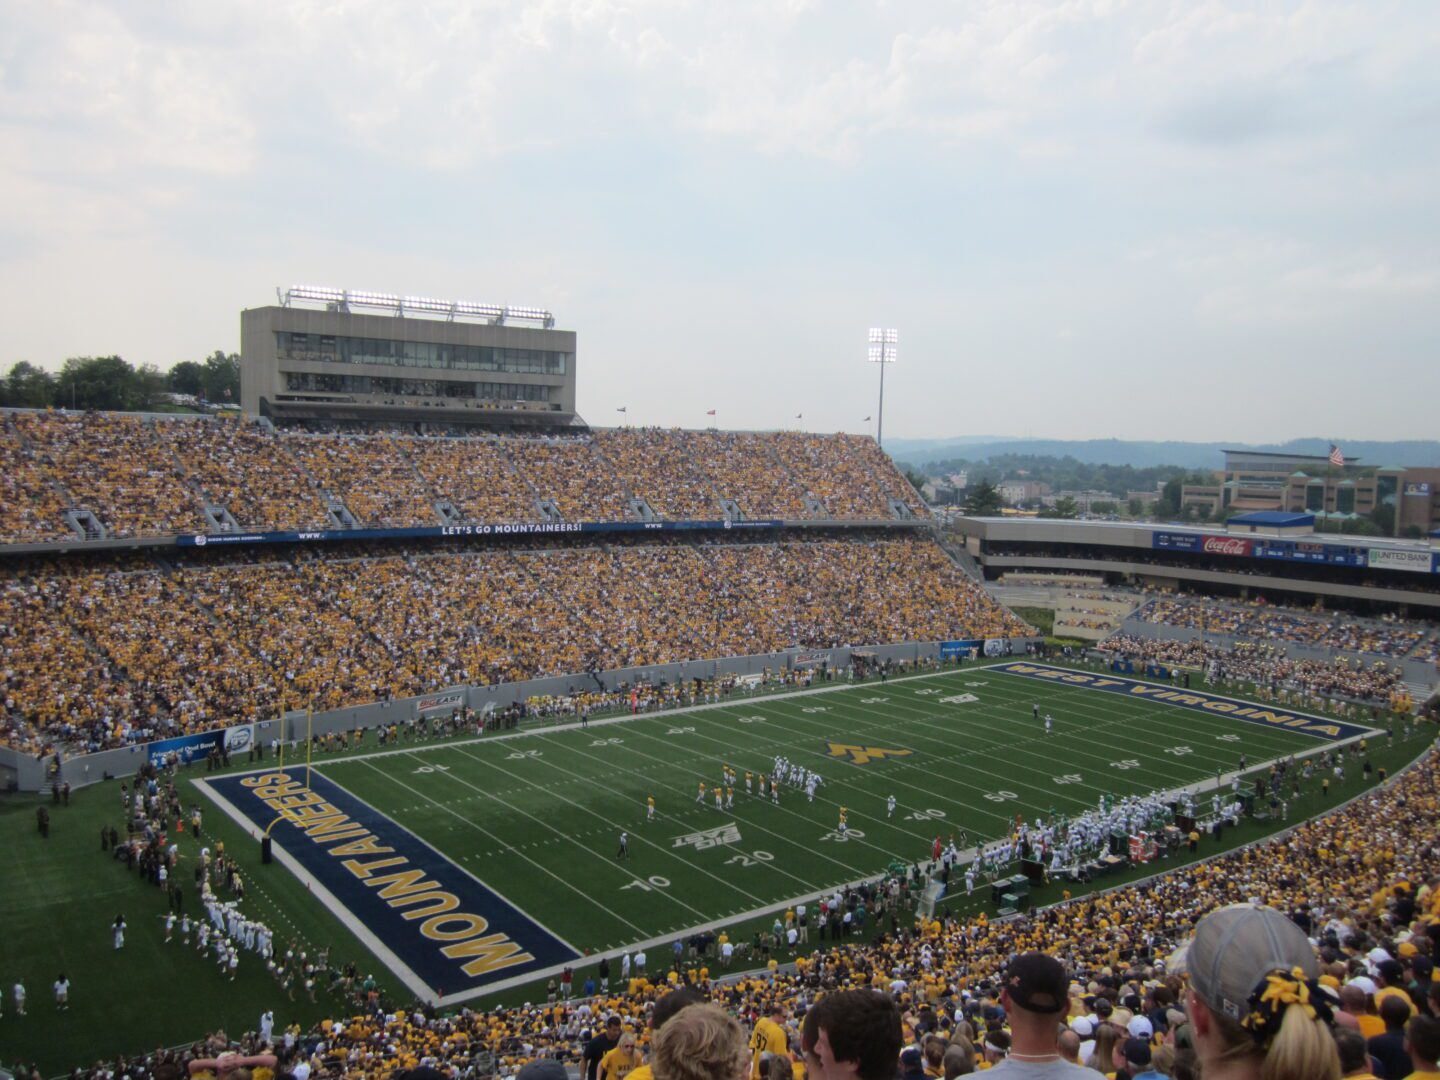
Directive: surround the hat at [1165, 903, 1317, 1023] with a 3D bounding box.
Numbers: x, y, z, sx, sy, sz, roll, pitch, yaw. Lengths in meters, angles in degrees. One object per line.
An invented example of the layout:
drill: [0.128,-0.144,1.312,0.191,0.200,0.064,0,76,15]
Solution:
hat: [3.793,3.111,9.339,0.755,0.512,1.055,10,16,38]
